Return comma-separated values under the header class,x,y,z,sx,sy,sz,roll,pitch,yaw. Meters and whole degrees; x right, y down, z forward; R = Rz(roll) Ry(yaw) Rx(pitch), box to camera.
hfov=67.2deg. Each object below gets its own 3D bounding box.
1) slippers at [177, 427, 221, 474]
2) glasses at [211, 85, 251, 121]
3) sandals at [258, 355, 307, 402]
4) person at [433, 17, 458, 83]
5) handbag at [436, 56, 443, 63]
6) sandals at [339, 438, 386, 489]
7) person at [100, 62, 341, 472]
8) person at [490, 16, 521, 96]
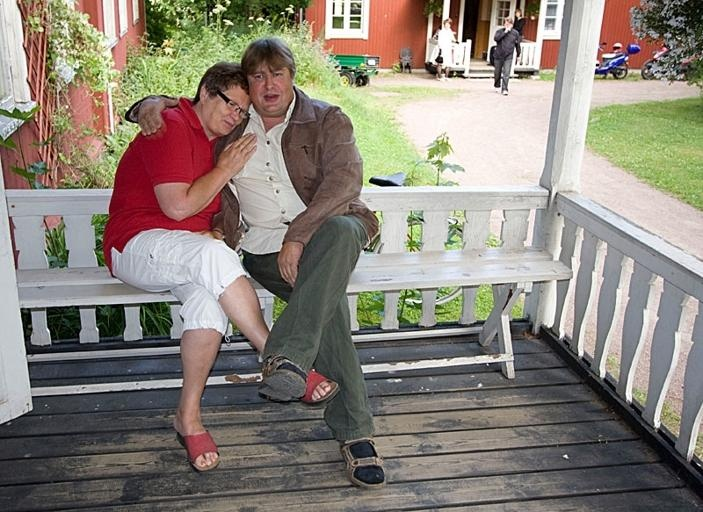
class,x,y,z,sx,sy,sz,roll,pitch,yaw
slippers,-0.704,0.847,2.431,0.149,0.099,0.378,-8,18,-29
glasses,-0.608,-0.772,2.674,0.136,0.042,0.133,44,9,30
sandals,-0.357,0.538,2.415,0.213,0.383,0.178,-13,62,-4
person,3.214,-7.115,18.212,0.609,1.906,0.899,4,24,8
handbag,3.037,-6.741,18.187,0.210,0.244,0.110,0,24,-3
sandals,0.045,0.975,2.599,0.185,0.159,0.380,0,16,-20
person,-0.664,-0.105,2.714,0.952,2.134,0.990,-4,11,-19
person,4.761,-6.129,16.222,0.819,2.130,1.175,5,22,16
